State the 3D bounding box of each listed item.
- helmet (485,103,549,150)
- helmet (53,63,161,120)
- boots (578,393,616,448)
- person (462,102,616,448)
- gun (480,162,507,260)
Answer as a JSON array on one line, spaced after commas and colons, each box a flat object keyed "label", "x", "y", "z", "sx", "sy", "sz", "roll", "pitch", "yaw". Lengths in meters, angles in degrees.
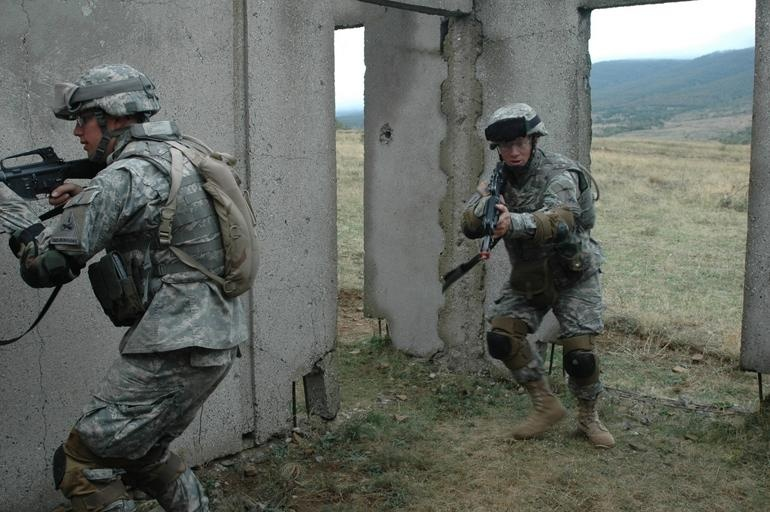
[{"label": "helmet", "x": 0.969, "y": -1.017, "z": 5.025, "sx": 0.358, "sy": 0.221, "sz": 0.362, "roll": -8, "pitch": 17, "yaw": 23}, {"label": "helmet", "x": -1.461, "y": -0.852, "z": 3.539, "sx": 0.425, "sy": 0.215, "sz": 0.299, "roll": -3, "pitch": 10, "yaw": -18}, {"label": "boots", "x": 1.622, "y": 1.274, "z": 5.258, "sx": 0.156, "sy": 0.306, "sz": 0.416, "roll": -3, "pitch": 7, "yaw": -16}, {"label": "person", "x": 1.238, "y": 0.155, "z": 5.119, "sx": 0.944, "sy": 2.554, "sz": 0.745, "roll": -1, "pitch": 14, "yaw": 1}, {"label": "gun", "x": 0.766, "y": -0.391, "z": 4.777, "sx": 0.125, "sy": 0.412, "sz": 0.923, "roll": 2, "pitch": 53, "yaw": 16}]
